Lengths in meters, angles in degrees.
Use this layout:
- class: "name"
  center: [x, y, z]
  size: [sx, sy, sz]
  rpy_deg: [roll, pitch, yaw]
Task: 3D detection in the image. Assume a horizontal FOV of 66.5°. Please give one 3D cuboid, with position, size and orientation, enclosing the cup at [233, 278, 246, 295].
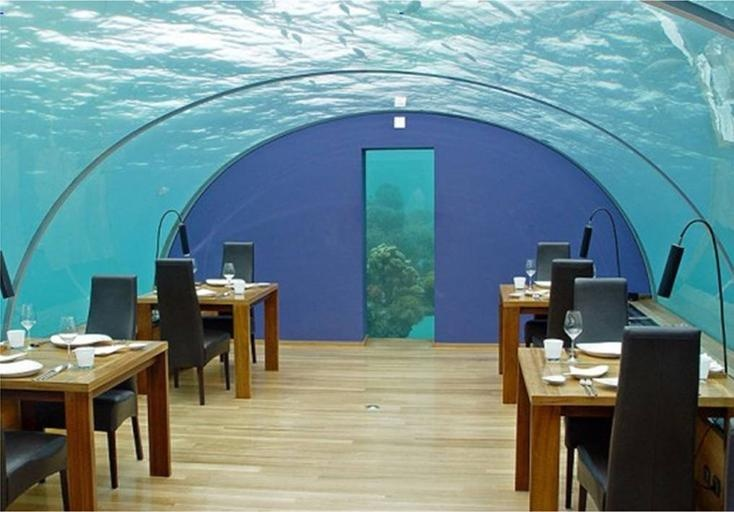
- class: "cup"
  center: [-1.335, 0.335, 5.869]
  size: [0.173, 0.137, 0.146]
  rpy_deg: [0, 0, -7]

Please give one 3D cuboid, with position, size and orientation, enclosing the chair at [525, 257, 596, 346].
- class: "chair"
  center: [1.916, 0.556, 5.376]
  size: [0.593, 1.001, 0.604]
  rpy_deg: [6, -1, -5]

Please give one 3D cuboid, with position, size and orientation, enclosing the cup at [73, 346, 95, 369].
- class: "cup"
  center: [-1.764, 0.646, 3.569]
  size: [0.156, 0.133, 0.131]
  rpy_deg: [0, 1, -12]

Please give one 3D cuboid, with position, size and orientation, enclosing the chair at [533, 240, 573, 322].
- class: "chair"
  center: [2.226, 0.280, 6.679]
  size: [0.595, 0.826, 0.593]
  rpy_deg: [-3, 0, -3]

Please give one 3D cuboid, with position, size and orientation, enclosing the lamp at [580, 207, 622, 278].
- class: "lamp"
  center: [2.754, -0.102, 6.603]
  size: [0.494, 0.898, 1.549]
  rpy_deg: [4, 9, 24]

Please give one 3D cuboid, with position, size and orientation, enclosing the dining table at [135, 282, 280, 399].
- class: "dining table"
  center: [-1.645, 0.830, 6.184]
  size: [1.278, 0.992, 1.239]
  rpy_deg: [1, 3, 11]

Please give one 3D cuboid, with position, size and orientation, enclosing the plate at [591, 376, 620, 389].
- class: "plate"
  center: [1.419, 0.762, 3.340]
  size: [0.141, 0.030, 0.136]
  rpy_deg: [-2, 1, 9]

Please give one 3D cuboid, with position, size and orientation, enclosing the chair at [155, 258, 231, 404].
- class: "chair"
  center: [-1.766, 0.729, 5.644]
  size: [0.661, 1.446, 0.691]
  rpy_deg: [-2, 9, -7]

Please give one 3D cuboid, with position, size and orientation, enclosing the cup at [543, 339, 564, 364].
- class: "cup"
  center: [1.258, 0.631, 3.729]
  size: [0.174, 0.132, 0.153]
  rpy_deg: [-2, 4, -12]

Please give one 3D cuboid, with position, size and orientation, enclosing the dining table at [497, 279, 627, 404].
- class: "dining table"
  center: [1.816, 1.054, 5.971]
  size: [0.688, 0.941, 1.210]
  rpy_deg: [-2, -17, 13]

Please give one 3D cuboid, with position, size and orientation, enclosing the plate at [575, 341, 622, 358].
- class: "plate"
  center: [1.626, 0.655, 3.875]
  size: [0.214, 0.034, 0.205]
  rpy_deg: [-2, 3, 5]

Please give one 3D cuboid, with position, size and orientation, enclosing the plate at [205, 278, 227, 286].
- class: "plate"
  center: [-1.778, 0.320, 6.619]
  size: [0.245, 0.046, 0.172]
  rpy_deg: [0, 1, -1]
